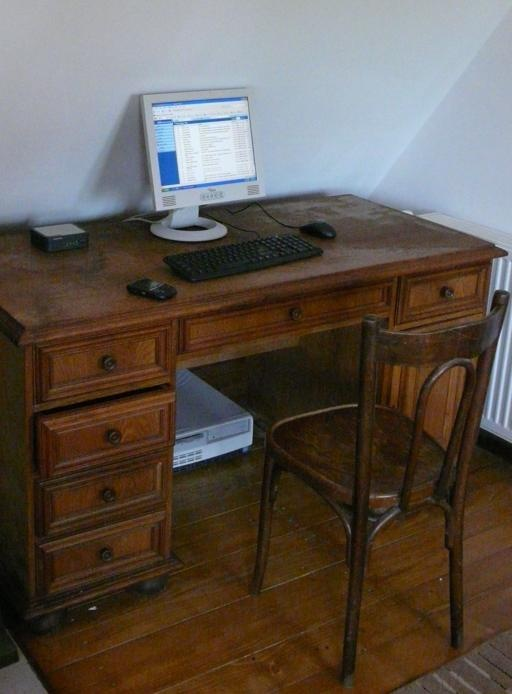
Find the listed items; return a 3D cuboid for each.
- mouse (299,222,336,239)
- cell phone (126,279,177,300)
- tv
[{"bbox_3d":[0.160,-0.298,1.586,0.045,0.028,0.083,-2,21,-40],"label":"mouse"},{"bbox_3d":[-0.192,-0.110,1.174,0.077,0.015,0.045,18,25,37],"label":"cell phone"},{"bbox_3d":[-0.138,-0.466,1.547,0.321,0.337,0.191,-14,41,-31],"label":"tv"}]
